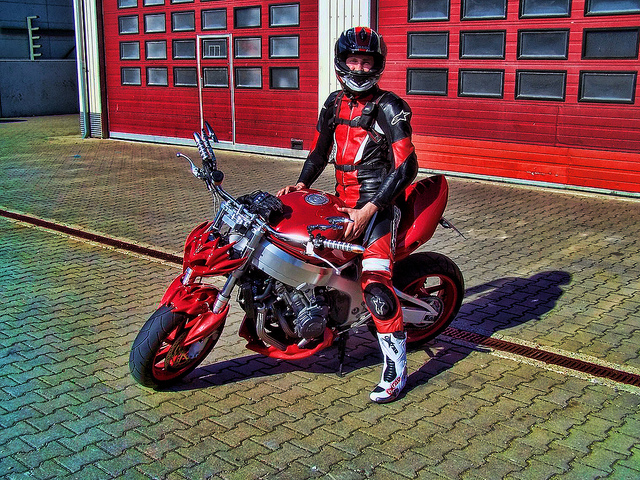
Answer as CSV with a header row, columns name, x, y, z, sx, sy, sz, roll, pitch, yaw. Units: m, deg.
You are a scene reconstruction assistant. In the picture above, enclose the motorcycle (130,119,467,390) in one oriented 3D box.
name,x,y,z,sx,sy,sz,roll,pitch,yaw
motorcycle,-0.091,0.255,3.498,2.926,1.344,1.284,-6,13,-30
